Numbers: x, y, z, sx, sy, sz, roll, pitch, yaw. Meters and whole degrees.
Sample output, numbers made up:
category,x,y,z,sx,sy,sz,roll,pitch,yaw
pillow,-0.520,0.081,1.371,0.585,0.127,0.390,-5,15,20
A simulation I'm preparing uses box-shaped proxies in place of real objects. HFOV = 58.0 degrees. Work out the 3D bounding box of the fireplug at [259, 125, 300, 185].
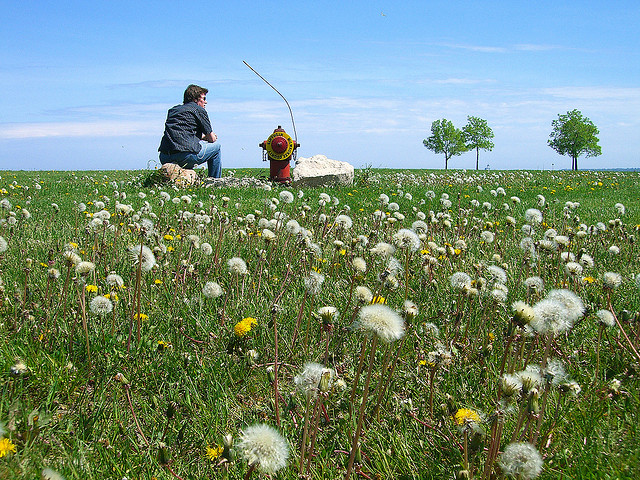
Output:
category,x,y,z,sx,sy,sz,roll,pitch,yaw
fireplug,-1.091,-2.224,15.082,0.788,1.507,0.666,1,8,-5
